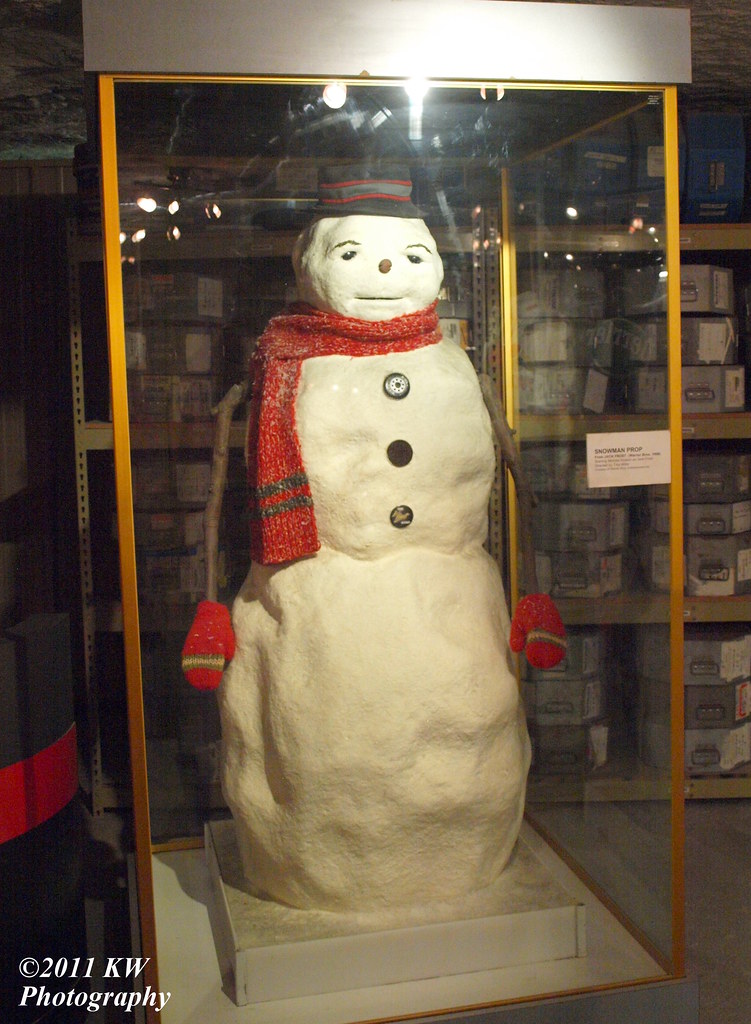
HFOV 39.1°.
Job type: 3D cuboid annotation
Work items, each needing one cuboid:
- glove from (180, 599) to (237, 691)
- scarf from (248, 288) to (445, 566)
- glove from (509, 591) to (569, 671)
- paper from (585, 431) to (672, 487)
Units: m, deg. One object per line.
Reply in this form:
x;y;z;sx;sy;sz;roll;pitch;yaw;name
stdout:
-0.238;0.214;1.581;0.089;0.039;0.149;15;12;5;glove
-0.044;-0.115;1.516;0.310;0.369;0.101;-1;9;-1;scarf
0.250;0.182;1.620;0.089;0.109;0.049;-13;-12;3;glove
0.387;-0.085;1.607;0.093;0.059;0.002;-1;-1;0;paper
